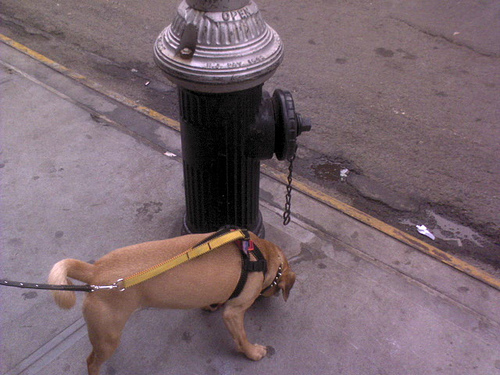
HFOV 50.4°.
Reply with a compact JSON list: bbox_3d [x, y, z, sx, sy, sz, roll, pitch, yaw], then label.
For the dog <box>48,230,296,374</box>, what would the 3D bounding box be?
[{"bbox_3d":[-0.645,0.675,4.674,2.451,1.240,0.850,-7,35,-17],"label":"dog"}]
